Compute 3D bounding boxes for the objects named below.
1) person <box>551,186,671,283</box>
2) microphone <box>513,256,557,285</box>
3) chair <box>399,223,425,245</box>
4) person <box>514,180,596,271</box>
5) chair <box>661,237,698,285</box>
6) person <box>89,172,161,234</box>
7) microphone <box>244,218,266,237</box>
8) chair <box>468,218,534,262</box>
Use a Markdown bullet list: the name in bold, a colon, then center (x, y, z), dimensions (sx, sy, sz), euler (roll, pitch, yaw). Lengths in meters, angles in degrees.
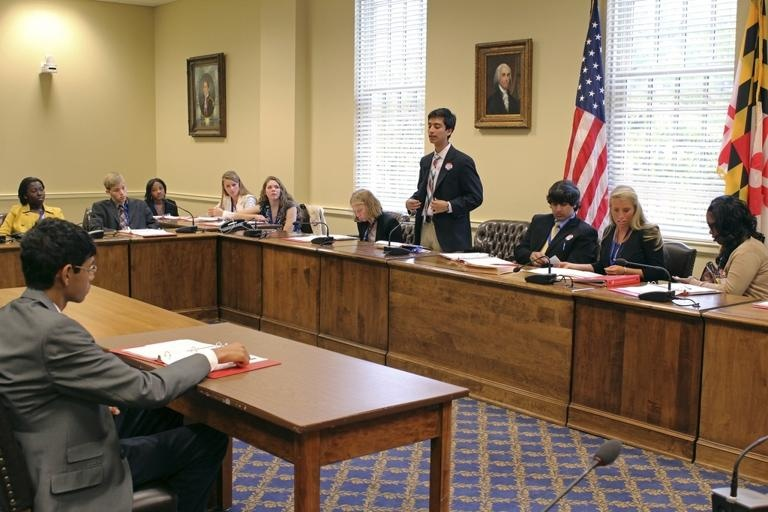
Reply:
- **person**: center (1.924, 0.080, 4.699), dimensions (0.566, 1.210, 0.774), euler (2, -3, -32)
- **microphone**: center (1.209, 0.135, 4.395), dimensions (0.233, 0.246, 0.246), euler (4, 4, 38)
- **chair**: center (0.274, -0.245, 6.339), dimensions (0.238, 0.169, 0.238), euler (-1, 2, -34)
- **person**: center (1.658, -0.288, 5.402), dimensions (0.875, 0.995, 0.560), euler (9, 3, 41)
- **chair**: center (2.468, 0.023, 4.751), dimensions (0.305, 0.413, 0.351), euler (1, -2, 7)
- **person**: center (-3.222, -0.512, 7.039), dimensions (0.783, 0.968, 0.666), euler (-9, 15, -33)
- **microphone**: center (-1.492, -0.331, 6.535), dimensions (0.176, 0.178, 0.276), euler (-1, 11, -1)
- **chair**: center (1.286, -0.156, 6.331), dimensions (0.432, 0.629, 0.500), euler (1, -2, 43)
